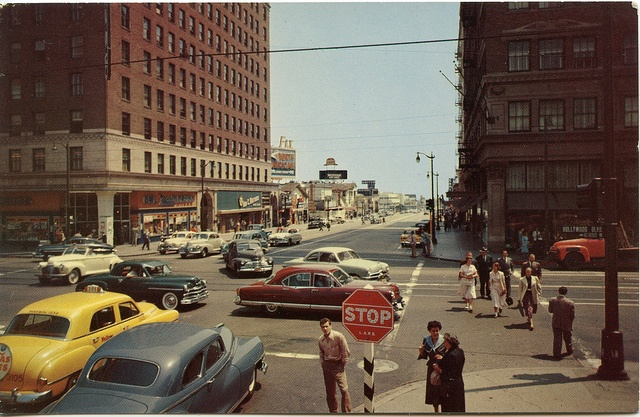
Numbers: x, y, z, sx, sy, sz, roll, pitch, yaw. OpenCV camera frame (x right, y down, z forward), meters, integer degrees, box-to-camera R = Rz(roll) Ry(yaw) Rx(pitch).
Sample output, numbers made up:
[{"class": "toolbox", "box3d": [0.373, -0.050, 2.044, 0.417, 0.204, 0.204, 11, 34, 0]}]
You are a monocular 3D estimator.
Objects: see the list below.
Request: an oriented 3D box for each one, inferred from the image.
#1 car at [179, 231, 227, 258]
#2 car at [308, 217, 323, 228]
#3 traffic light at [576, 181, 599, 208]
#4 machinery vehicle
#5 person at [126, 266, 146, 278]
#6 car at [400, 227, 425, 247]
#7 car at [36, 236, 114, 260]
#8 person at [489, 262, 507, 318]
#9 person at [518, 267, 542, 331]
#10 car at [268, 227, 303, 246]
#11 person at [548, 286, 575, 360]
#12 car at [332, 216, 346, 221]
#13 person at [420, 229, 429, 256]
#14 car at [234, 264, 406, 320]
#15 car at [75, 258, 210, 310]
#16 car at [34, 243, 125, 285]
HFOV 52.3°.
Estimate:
[{"class": "car", "box3d": [-9.741, 3.204, 54.717, 1.763, 2.144, 4.298, -2, -3, 33]}, {"class": "car", "box3d": [-0.602, 2.259, 95.065, 1.421, 1.129, 3.099, 0, -3, 3]}, {"class": "traffic light", "box3d": [13.679, -0.643, 33.464, 0.346, 1.479, 1.015, 1, -3, -38]}, {"class": "machinery vehicle", "box3d": [19.530, 2.738, 46.620, 5.791, 2.787, 3.702, -1, -1, 12]}, {"class": "person", "box3d": [-10.772, 3.862, 38.459, 0.865, 0.854, 0.632, -4, 4, 5]}, {"class": "car", "box3d": [8.598, 2.920, 61.677, 1.322, 1.085, 2.397, 1, 4, 18]}, {"class": "car", "box3d": [-18.498, 3.605, 49.399, 5.841, 1.844, 2.569, -1, 2, -17]}, {"class": "person", "box3d": [10.326, 4.755, 37.588, 0.714, 3.095, 1.586, -2, -2, 33]}, {"class": "person", "box3d": [11.532, 5.070, 36.096, 1.190, 3.434, 0.802, 1, -2, -35]}, {"class": "car", "box3d": [-3.258, 2.928, 64.288, 2.019, 1.728, 3.279, -2, -3, 33]}, {"class": "person", "box3d": [12.571, 5.992, 33.830, 1.394, 3.657, 1.024, 1, -3, -45]}, {"class": "car", "box3d": [3.415, 2.195, 124.684, 1.903, 0.608, 1.045, 3, -1, 9]}, {"class": "person", "box3d": [8.784, 3.116, 54.083, 0.595, 2.008, 1.541, -1, -2, 10]}, {"class": "car", "box3d": [-0.393, 4.849, 37.527, 8.475, 2.299, 3.782, 0, 0, 7]}, {"class": "car", "box3d": [-10.209, 4.844, 38.956, 6.730, 2.310, 3.220, 1, 2, 5]}, {"class": "car", "box3d": [-15.969, 3.856, 44.722, 2.642, 2.160, 6.242, -2, -3, 19]}]
